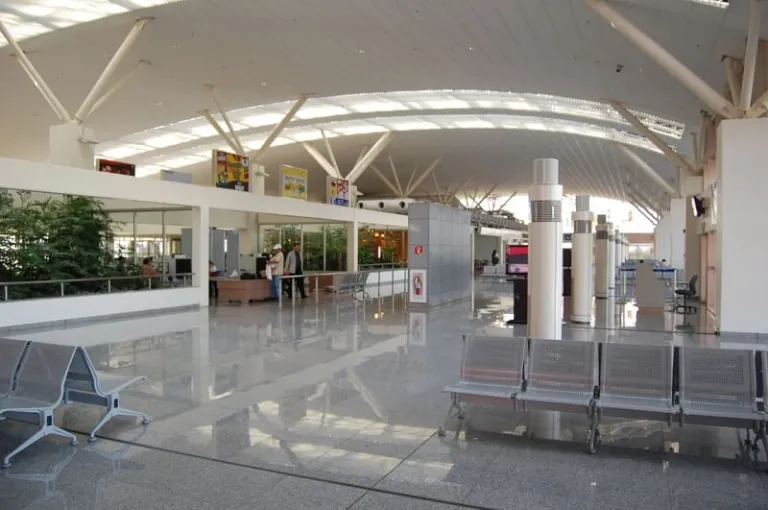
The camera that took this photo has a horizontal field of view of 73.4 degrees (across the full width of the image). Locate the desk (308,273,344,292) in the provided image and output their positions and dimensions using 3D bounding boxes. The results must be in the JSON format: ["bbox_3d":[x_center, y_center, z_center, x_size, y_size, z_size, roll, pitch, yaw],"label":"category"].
[{"bbox_3d":[-2.531,1.223,22.427,1.091,0.471,0.587,2,5,35],"label":"desk"}]

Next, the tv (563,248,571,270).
[{"bbox_3d":[6.385,0.147,18.157,0.261,0.741,1.642,1,3,17],"label":"tv"}]

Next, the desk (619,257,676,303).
[{"bbox_3d":[9.665,0.860,18.910,1.517,1.602,2.677,7,15,31],"label":"desk"}]

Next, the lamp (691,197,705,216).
[{"bbox_3d":[11.827,-1.849,19.449,0.345,0.669,0.959,2,3,29],"label":"lamp"}]

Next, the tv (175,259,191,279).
[{"bbox_3d":[-7.698,0.539,19.724,0.728,0.937,0.070,2,2,12],"label":"tv"}]

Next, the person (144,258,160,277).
[{"bbox_3d":[-8.473,0.455,18.770,0.476,0.768,0.479,9,18,19],"label":"person"}]

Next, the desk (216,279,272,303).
[{"bbox_3d":[-5.256,1.377,19.484,1.920,0.893,1.109,0,3,-13],"label":"desk"}]

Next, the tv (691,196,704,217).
[{"bbox_3d":[11.813,-1.901,19.455,0.525,0.813,0.248,-1,-12,27],"label":"tv"}]

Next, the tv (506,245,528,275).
[{"bbox_3d":[3.679,0.141,14.316,0.538,0.859,0.640,1,3,7],"label":"tv"}]
